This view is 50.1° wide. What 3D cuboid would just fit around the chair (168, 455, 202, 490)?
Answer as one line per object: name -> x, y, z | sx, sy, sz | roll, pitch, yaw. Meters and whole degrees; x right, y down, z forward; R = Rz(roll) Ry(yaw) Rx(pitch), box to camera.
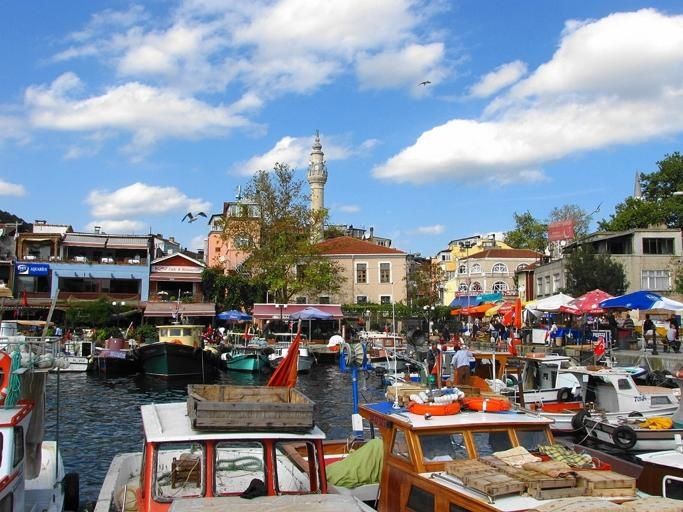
chair -> -2.698, 3.706, 12.629 | 0.471, 0.463, 0.699 | 1, 1, -8
